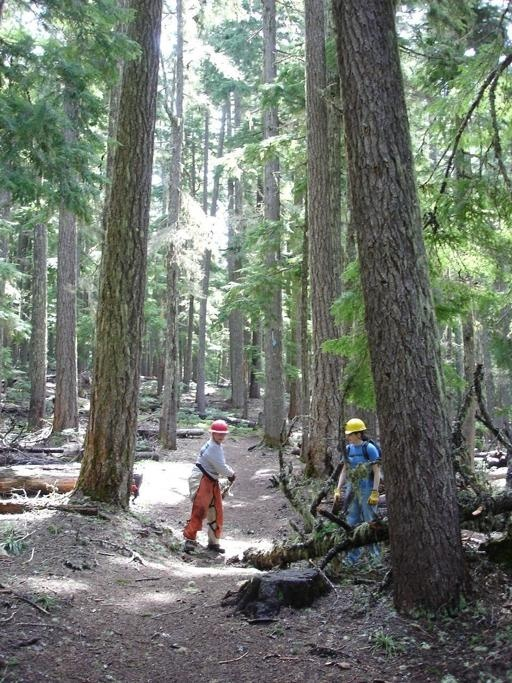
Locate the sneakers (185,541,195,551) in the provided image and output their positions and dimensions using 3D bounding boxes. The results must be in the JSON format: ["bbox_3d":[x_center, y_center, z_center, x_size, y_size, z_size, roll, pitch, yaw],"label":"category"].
[{"bbox_3d":[-0.842,2.582,8.099,0.122,0.116,0.218,1,-4,3],"label":"sneakers"}]

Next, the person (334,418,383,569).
[{"bbox_3d":[1.137,1.564,7.167,0.494,1.362,1.361,0,-4,10],"label":"person"}]

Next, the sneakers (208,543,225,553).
[{"bbox_3d":[-0.528,2.732,8.476,0.247,0.167,0.085,7,-12,2],"label":"sneakers"}]

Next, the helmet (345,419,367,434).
[{"bbox_3d":[1.124,0.972,7.245,0.214,0.113,0.163,-6,2,6],"label":"helmet"}]

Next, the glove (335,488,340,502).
[{"bbox_3d":[0.874,1.658,6.902,0.064,0.028,0.085,-12,32,23],"label":"glove"}]

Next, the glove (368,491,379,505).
[{"bbox_3d":[1.241,1.663,6.814,0.099,0.179,0.295,1,-4,8],"label":"glove"}]

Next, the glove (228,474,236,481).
[{"bbox_3d":[-0.301,1.711,7.995,0.083,0.033,0.117,0,2,6],"label":"glove"}]

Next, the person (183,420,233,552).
[{"bbox_3d":[-0.622,1.909,8.404,0.632,1.732,1.062,1,-4,-4],"label":"person"}]

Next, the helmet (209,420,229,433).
[{"bbox_3d":[-0.484,1.110,8.369,0.306,0.174,0.332,9,-5,-10],"label":"helmet"}]
